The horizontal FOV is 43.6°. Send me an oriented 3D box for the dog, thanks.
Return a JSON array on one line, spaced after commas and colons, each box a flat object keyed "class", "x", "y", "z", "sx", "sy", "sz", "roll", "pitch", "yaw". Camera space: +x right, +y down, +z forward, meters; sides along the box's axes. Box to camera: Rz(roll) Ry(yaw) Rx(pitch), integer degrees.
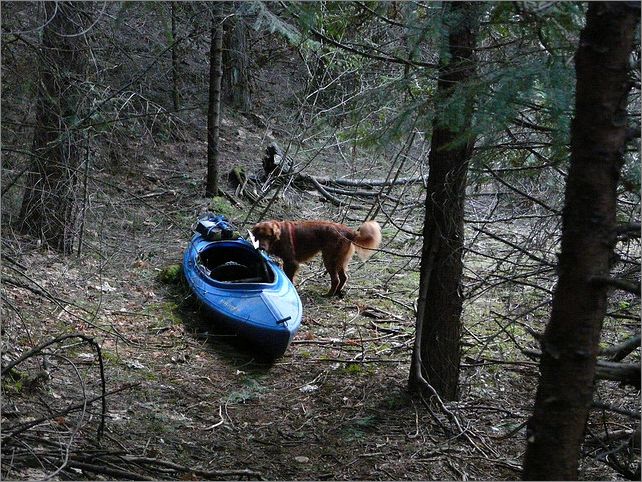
[{"class": "dog", "x": -0.107, "y": 0.222, "z": 11.379, "sx": 2.001, "sy": 1.036, "sz": 0.482, "roll": 6, "pitch": 11, "yaw": 27}]
